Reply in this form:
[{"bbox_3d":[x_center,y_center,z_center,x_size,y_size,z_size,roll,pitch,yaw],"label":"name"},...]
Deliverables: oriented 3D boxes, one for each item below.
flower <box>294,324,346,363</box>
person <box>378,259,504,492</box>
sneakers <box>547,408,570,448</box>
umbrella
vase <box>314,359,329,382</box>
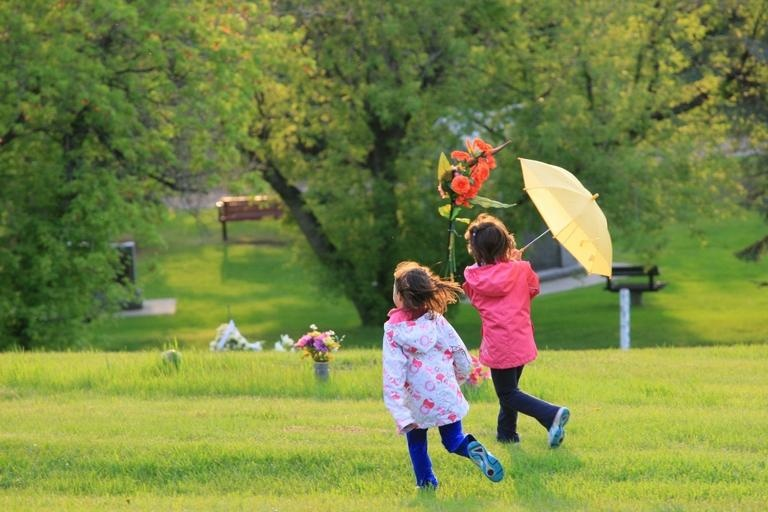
[{"bbox_3d":[-0.997,1.289,32.264,0.592,0.574,0.612,7,6,7],"label":"flower"},{"bbox_3d":[0.716,1.571,28.819,1.405,3.094,0.412,-1,-2,2],"label":"person"},{"bbox_3d":[2.561,2.331,29.402,0.221,0.652,0.269,10,10,-11],"label":"sneakers"},{"bbox_3d":[2.704,-0.645,29.464,1.496,1.562,0.696,25,-54,-37],"label":"umbrella"},{"bbox_3d":[-0.959,1.704,32.087,0.256,0.423,0.268,0,1,-33],"label":"vase"}]
